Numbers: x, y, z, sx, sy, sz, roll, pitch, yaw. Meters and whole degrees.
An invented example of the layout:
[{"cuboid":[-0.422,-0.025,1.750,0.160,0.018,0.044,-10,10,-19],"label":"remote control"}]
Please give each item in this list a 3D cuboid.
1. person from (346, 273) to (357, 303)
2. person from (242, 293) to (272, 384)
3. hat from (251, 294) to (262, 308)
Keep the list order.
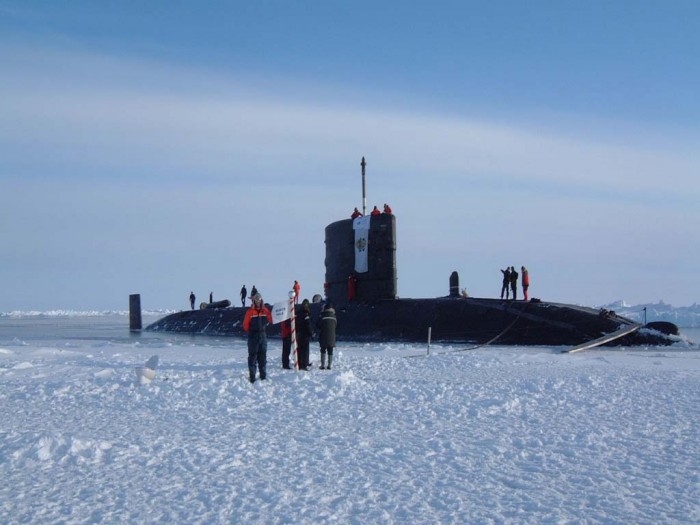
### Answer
[{"cuboid":[0.069,0.631,23.567,0.191,0.700,0.187,-10,15,-39],"label":"person"},{"cuboid":[-1.416,1.123,14.242,0.437,1.645,1.485,-2,11,-5],"label":"person"},{"cuboid":[-1.393,0.568,13.779,0.156,0.256,0.315,-2,11,-6],"label":"hat"}]
